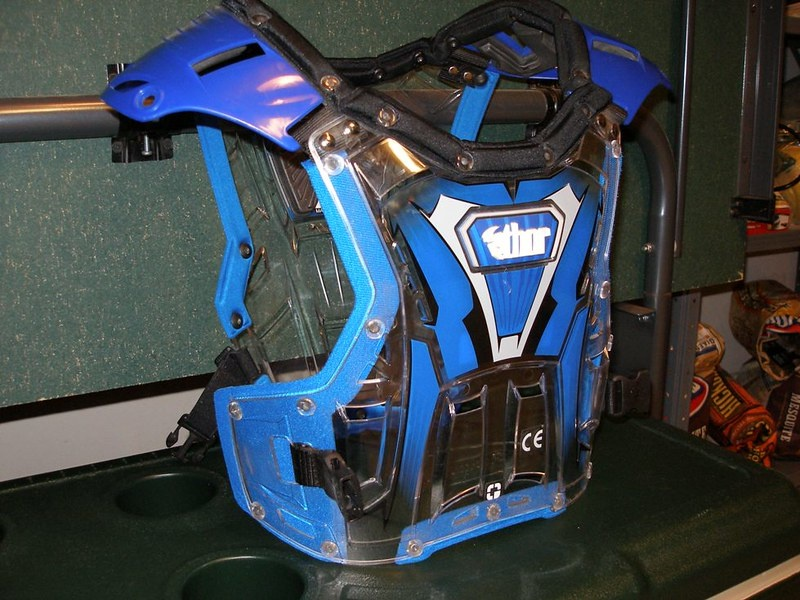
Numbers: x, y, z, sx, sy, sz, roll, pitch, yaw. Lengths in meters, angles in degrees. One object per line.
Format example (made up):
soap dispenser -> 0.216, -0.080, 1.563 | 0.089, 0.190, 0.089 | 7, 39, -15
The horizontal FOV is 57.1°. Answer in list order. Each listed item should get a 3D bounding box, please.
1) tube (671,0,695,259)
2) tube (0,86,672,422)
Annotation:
tube -> 0.565, -0.336, 1.459 | 0.059, 0.500, 0.028 | -9, 13, -25
tube -> -0.129, -0.074, 1.060 | 0.536, 0.317, 0.076 | -17, 34, -27
